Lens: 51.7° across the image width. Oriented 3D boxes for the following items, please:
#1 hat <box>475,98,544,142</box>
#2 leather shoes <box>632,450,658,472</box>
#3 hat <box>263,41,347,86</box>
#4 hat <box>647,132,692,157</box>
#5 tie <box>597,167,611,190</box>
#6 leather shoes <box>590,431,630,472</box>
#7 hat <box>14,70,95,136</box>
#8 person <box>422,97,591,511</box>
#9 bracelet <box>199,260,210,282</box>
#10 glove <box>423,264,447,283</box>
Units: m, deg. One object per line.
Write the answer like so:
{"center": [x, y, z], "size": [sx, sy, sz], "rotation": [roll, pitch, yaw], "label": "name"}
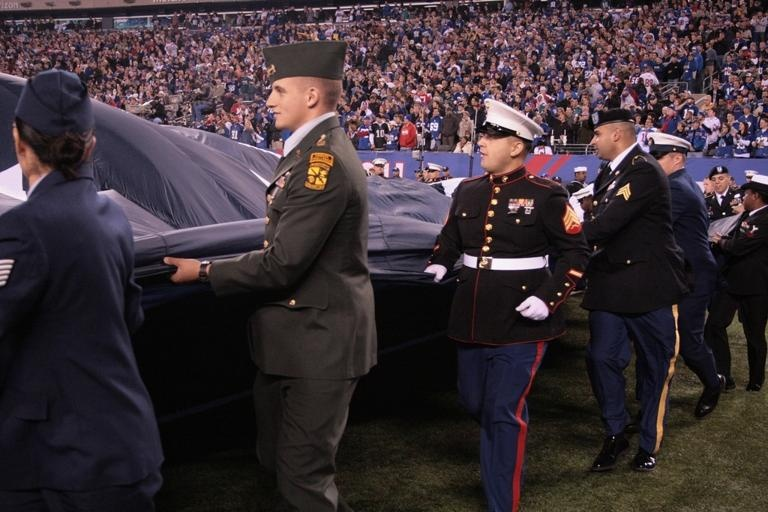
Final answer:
{"center": [0.555, -0.581, 3.479], "size": [0.244, 0.091, 0.195], "rotation": [13, 6, -17], "label": "hat"}
{"center": [1.305, 1.012, 3.959], "size": [0.117, 0.096, 0.160], "rotation": [7, 13, 19], "label": "leather shoes"}
{"center": [-0.284, -0.687, 2.879], "size": [0.224, 0.078, 0.181], "rotation": [0, 8, 18], "label": "hat"}
{"center": [1.676, -0.654, 4.628], "size": [0.237, 0.102, 0.181], "rotation": [-2, 5, -22], "label": "hat"}
{"center": [1.156, -0.411, 4.182], "size": [0.043, 0.102, 0.080], "rotation": [14, 9, -5], "label": "tie"}
{"center": [1.126, 0.977, 3.939], "size": [0.106, 0.118, 0.309], "rotation": [0, 5, 42], "label": "leather shoes"}
{"center": [-1.009, -0.464, 2.422], "size": [0.189, 0.119, 0.238], "rotation": [-4, 32, -23], "label": "hat"}
{"center": [0.548, 0.211, 3.524], "size": [0.476, 1.770, 0.667], "rotation": [-5, 15, -32], "label": "person"}
{"center": [-0.637, 0.056, 2.816], "size": [0.038, 0.069, 0.064], "rotation": [-2, 13, -21], "label": "bracelet"}
{"center": [0.236, 0.080, 3.618], "size": [0.081, 0.091, 0.039], "rotation": [19, 37, 32], "label": "glove"}
